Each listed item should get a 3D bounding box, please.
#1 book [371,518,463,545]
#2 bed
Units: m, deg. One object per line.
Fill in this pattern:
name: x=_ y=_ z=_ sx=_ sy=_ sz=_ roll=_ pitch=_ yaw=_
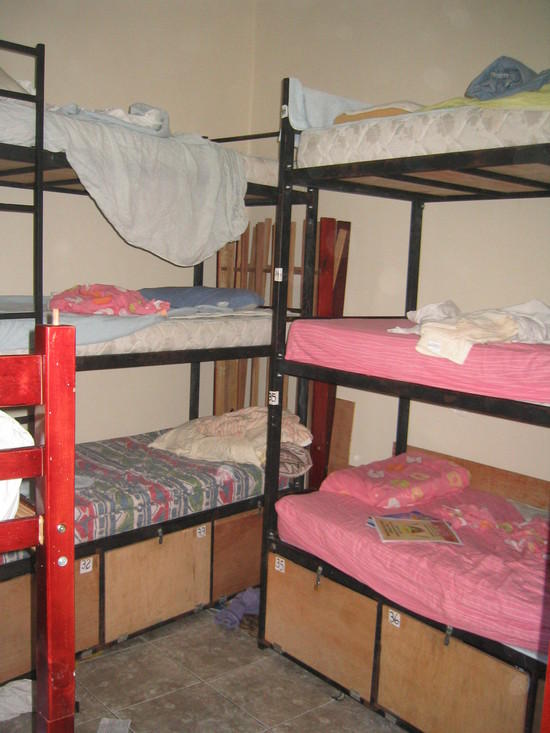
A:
book: x=0.528 y=0.618 z=2.392 sx=0.296 sy=0.020 sz=0.264 roll=3 pitch=5 yaw=-2
bed: x=0.530 y=0.033 z=2.789 sx=1.629 sy=2.370 sz=1.649 roll=7 pitch=6 yaw=35
